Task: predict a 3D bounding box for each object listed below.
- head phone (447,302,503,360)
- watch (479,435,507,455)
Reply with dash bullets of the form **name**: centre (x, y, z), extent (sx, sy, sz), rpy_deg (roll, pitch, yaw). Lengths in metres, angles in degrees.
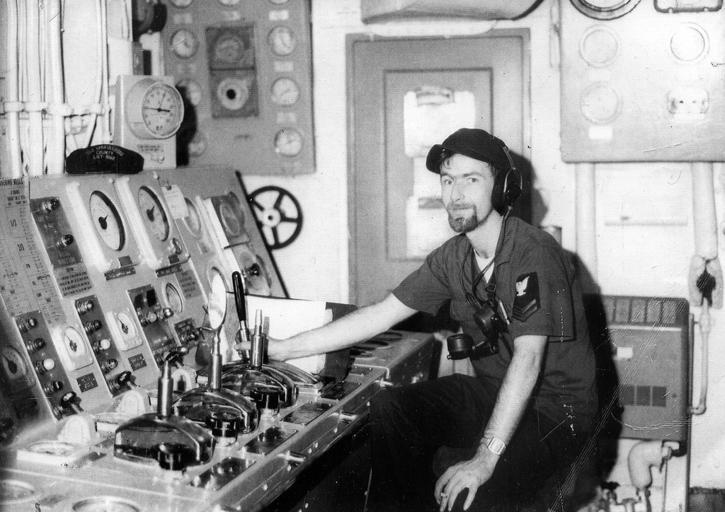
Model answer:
- **head phone**: centre (0.350, 0.240, 2.147), extent (0.147, 0.163, 0.096), rpy_deg (-9, 8, 5)
- **watch**: centre (0.351, 0.509, 1.819), extent (0.066, 0.044, 0.067), rpy_deg (29, -5, 18)
